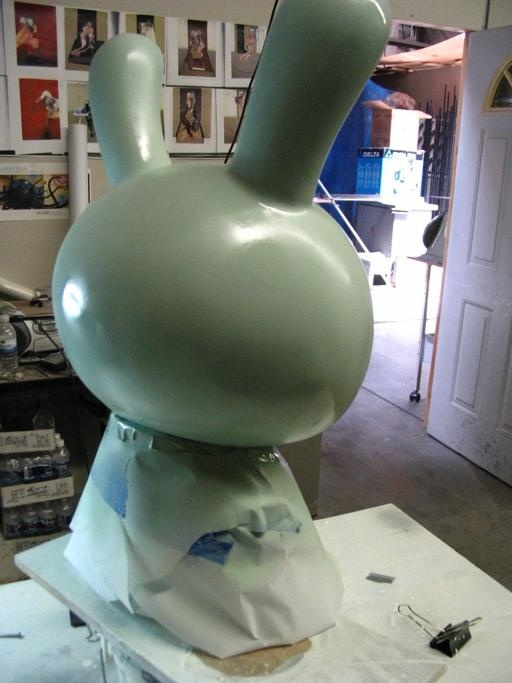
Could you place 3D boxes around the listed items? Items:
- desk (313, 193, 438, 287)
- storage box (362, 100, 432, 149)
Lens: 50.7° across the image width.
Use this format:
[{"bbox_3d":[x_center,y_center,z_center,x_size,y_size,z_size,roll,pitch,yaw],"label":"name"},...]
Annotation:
[{"bbox_3d":[1.402,-1.174,5.984,1.009,0.909,1.329,10,5,1],"label":"desk"},{"bbox_3d":[1.566,-2.439,6.117,0.673,0.475,0.475,3,21,-7],"label":"storage box"}]
